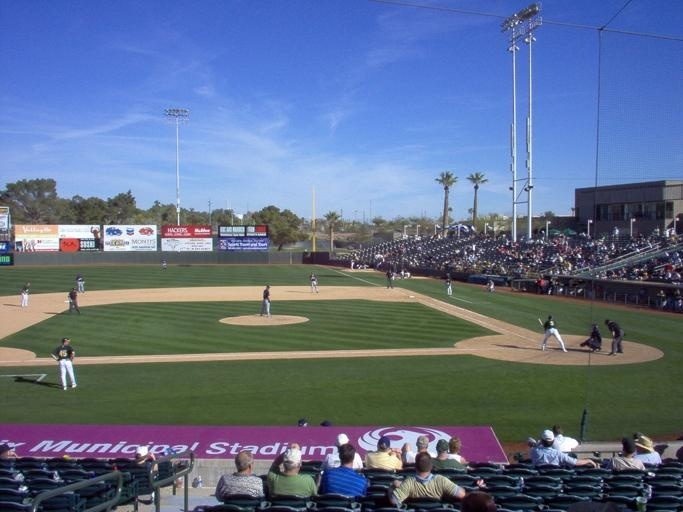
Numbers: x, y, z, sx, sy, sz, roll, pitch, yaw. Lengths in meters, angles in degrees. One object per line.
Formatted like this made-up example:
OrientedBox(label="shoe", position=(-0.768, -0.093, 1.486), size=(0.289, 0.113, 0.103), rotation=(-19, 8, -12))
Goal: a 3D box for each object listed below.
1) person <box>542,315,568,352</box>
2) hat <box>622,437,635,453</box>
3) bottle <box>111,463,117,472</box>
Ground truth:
OrientedBox(label="person", position=(9.937, 3.578, 50.945), size=(1.153, 1.891, 0.564), rotation=(-1, -8, 19))
OrientedBox(label="hat", position=(10.250, 6.775, 38.593), size=(0.468, 0.526, 0.559), rotation=(-5, 4, 13))
OrientedBox(label="bottle", position=(-7.933, 7.479, 37.999), size=(0.206, 0.225, 0.242), rotation=(0, -9, -6))
